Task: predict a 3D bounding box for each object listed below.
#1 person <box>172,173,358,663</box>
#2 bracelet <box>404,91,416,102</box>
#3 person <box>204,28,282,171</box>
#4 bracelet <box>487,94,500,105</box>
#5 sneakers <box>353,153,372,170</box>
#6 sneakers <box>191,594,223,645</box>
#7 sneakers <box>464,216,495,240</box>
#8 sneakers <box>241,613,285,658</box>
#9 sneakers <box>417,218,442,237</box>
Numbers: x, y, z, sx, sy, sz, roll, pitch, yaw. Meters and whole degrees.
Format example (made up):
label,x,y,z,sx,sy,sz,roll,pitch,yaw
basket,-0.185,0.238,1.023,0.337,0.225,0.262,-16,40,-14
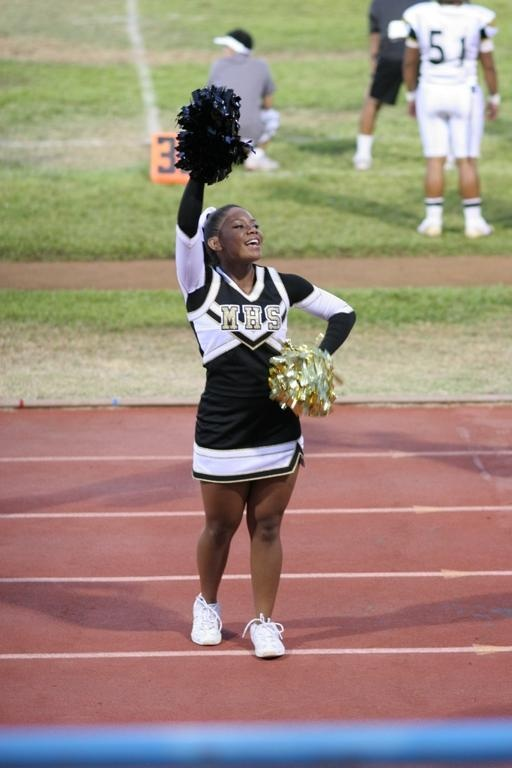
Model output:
label,x,y,z,sx,sy,sz,roll,pitch,yaw
person,0.025,0.115,3.720,0.502,1.457,0.384,-1,11,-3
bracelet,1.048,-1.933,8.318,0.059,0.060,0.059,-1,11,6
person,-0.081,-2.214,9.692,0.545,1.098,0.853,0,11,-1
bracelet,1.654,-1.963,8.543,0.073,0.070,0.073,-2,18,11
sneakers,0.792,-1.654,9.207,0.108,0.142,0.146,0,-7,-1
sneakers,-0.154,0.752,3.896,0.066,0.080,0.186,3,9,-8
sneakers,1.534,-1.081,8.550,0.199,0.134,0.104,-16,28,-13
sneakers,0.034,0.782,3.839,0.089,0.069,0.162,-1,3,-10
sneakers,1.228,-1.093,8.640,0.095,0.106,0.164,-1,13,-9
